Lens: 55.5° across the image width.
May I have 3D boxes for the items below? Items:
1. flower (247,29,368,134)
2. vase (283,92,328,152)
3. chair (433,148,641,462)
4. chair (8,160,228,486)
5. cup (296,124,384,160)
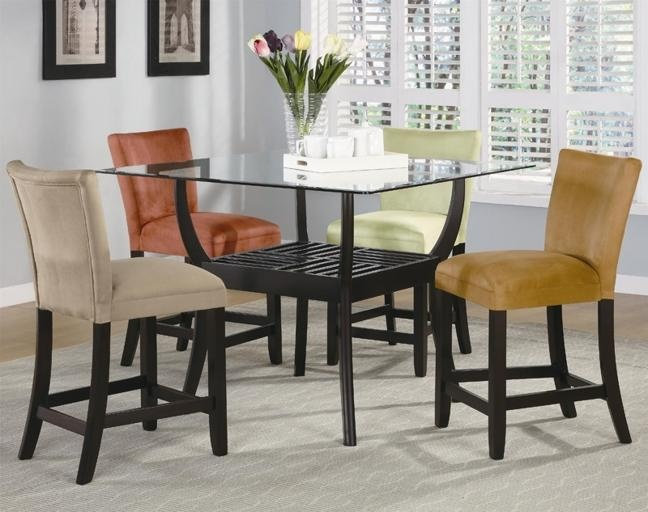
[{"bbox_3d":[-0.094,-0.736,2.639,0.479,0.421,0.382,-6,7,-35],"label":"flower"},{"bbox_3d":[-0.074,-0.580,2.721,0.254,0.326,0.252,-1,6,-4],"label":"vase"},{"bbox_3d":[0.697,0.132,2.097,0.586,0.984,0.421,-4,13,-13],"label":"chair"},{"bbox_3d":[-0.635,0.178,1.939,0.605,0.953,0.423,-6,13,-22],"label":"chair"},{"bbox_3d":[0.092,-0.456,2.472,0.273,0.095,0.177,-13,13,-40],"label":"cup"}]
